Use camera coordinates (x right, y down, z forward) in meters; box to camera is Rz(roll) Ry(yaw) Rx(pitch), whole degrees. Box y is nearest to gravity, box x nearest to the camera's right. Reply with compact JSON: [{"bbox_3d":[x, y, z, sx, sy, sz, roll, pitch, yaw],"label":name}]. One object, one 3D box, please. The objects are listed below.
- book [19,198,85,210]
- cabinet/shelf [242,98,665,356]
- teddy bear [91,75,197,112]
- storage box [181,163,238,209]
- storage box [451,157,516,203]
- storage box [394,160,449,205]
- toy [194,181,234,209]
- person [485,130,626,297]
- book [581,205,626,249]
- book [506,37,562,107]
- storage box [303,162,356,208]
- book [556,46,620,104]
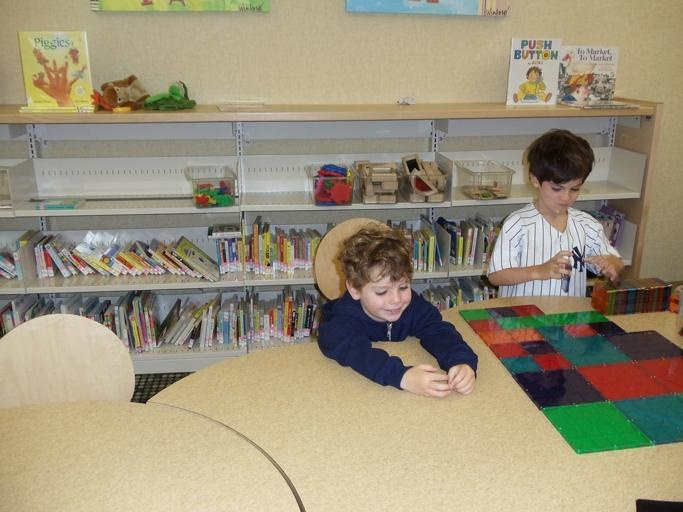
[{"bbox_3d":[-1.498,-0.276,2.758,0.287,0.052,0.260,-6,14,-12],"label":"book"},{"bbox_3d":[0.481,-0.369,3.159,2.365,1.085,0.510,0,20,22],"label":"cabinet/shelf"},{"bbox_3d":[-1.010,-0.838,2.727,0.528,0.194,0.301,-11,16,-29],"label":"teddy bear"},{"bbox_3d":[-0.632,-0.373,2.861,0.387,0.225,0.239,2,4,24],"label":"storage box"},{"bbox_3d":[0.777,-0.461,3.002,0.299,0.171,0.383,-1,16,-5],"label":"storage box"},{"bbox_3d":[0.440,-0.414,2.910,0.221,0.126,0.270,0,27,-4],"label":"storage box"},{"bbox_3d":[-0.668,-0.310,2.743,0.180,0.142,0.049,0,5,-11],"label":"toy"},{"bbox_3d":[0.945,-0.143,2.153,0.582,0.723,0.439,-12,17,-26],"label":"person"},{"bbox_3d":[1.389,-0.148,2.777,0.134,0.203,0.226,-17,30,-24],"label":"book"},{"bbox_3d":[1.082,-1.010,2.904,0.346,0.355,0.132,-11,17,-24],"label":"book"},{"bbox_3d":[-0.065,-0.385,2.835,0.260,0.141,0.236,-3,16,-9],"label":"storage box"},{"bbox_3d":[1.380,-1.023,2.984,0.366,0.301,0.002,-4,11,-13],"label":"book"}]
